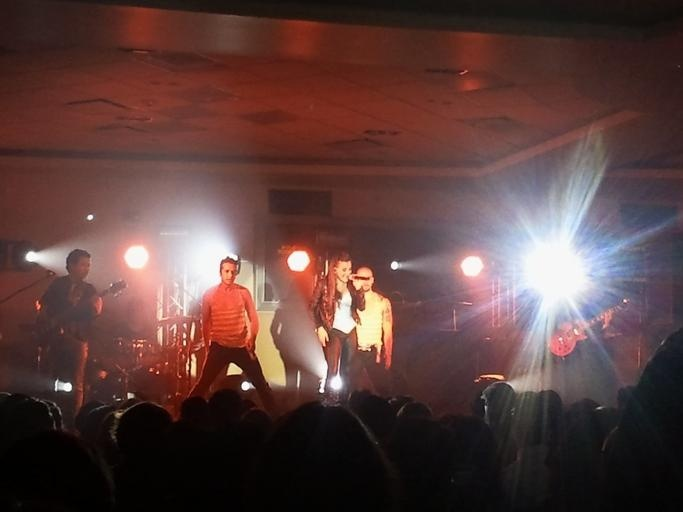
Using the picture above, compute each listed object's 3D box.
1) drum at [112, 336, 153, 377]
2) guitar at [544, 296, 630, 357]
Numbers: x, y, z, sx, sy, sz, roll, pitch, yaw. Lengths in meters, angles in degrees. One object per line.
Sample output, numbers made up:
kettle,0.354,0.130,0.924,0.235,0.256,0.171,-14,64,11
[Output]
drum,-2.494,1.200,7.574,0.473,0.465,0.331,-8,-13,38
guitar,3.490,1.012,8.953,1.261,0.476,0.132,-24,-40,-9
